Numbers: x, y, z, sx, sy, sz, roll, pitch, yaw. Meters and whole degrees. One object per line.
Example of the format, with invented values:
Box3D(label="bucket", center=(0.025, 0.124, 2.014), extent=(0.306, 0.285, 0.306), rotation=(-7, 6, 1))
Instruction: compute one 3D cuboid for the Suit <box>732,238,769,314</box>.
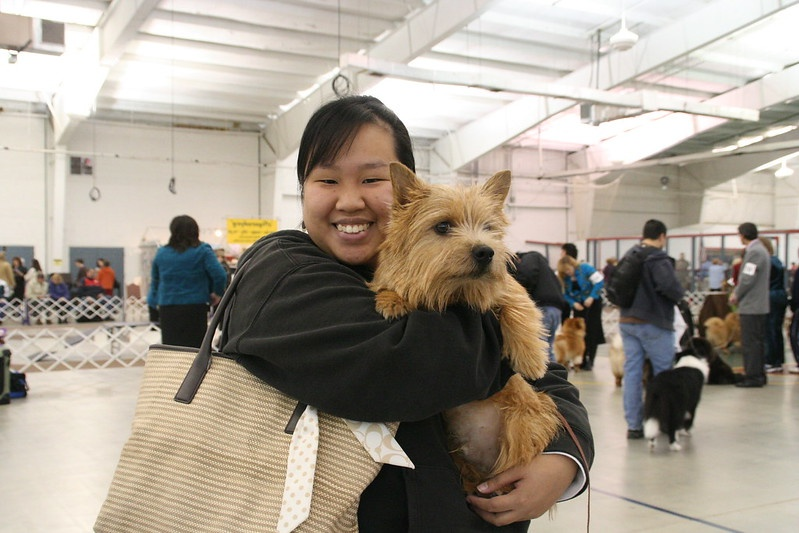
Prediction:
Box3D(label="Suit", center=(6.043, 0.172, 10.868), extent=(0.517, 1.268, 0.474), rotation=(3, 7, 28))

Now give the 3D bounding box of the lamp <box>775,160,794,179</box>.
Box3D(label="lamp", center=(8.629, -2.167, 14.229), extent=(0.109, 0.349, 0.429), rotation=(-1, 6, -13))

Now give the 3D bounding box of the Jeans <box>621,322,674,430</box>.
Box3D(label="Jeans", center=(3.281, 1.452, 8.455), extent=(0.682, 1.432, 0.361), rotation=(2, 6, 20))

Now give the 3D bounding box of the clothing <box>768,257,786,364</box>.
Box3D(label="clothing", center=(7.218, 0.895, 12.122), extent=(0.305, 2.227, 0.922), rotation=(4, 7, 31))

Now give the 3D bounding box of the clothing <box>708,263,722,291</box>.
Box3D(label="clothing", center=(6.969, 0.238, 13.948), extent=(0.331, 0.501, 0.739), rotation=(3, 6, 26))

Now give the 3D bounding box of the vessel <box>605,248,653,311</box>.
Box3D(label="vessel", center=(3.141, 0.132, 8.644), extent=(0.502, 0.885, 0.595), rotation=(6, 6, -6))

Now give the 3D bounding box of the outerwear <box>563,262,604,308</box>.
Box3D(label="outerwear", center=(3.543, 0.316, 12.459), extent=(0.877, 0.844, 0.621), rotation=(-16, 5, 31))

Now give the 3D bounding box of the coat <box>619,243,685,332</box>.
Box3D(label="coat", center=(3.411, 0.309, 8.622), extent=(0.760, 1.100, 0.968), rotation=(11, -11, -9))

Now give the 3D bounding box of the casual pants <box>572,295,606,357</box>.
Box3D(label="casual pants", center=(3.872, 1.179, 12.531), extent=(0.734, 1.319, 0.484), rotation=(-2, 4, -43))

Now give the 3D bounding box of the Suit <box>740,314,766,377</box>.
Box3D(label="Suit", center=(6.129, 1.411, 11.009), extent=(0.417, 1.261, 0.497), rotation=(3, 7, 29))
